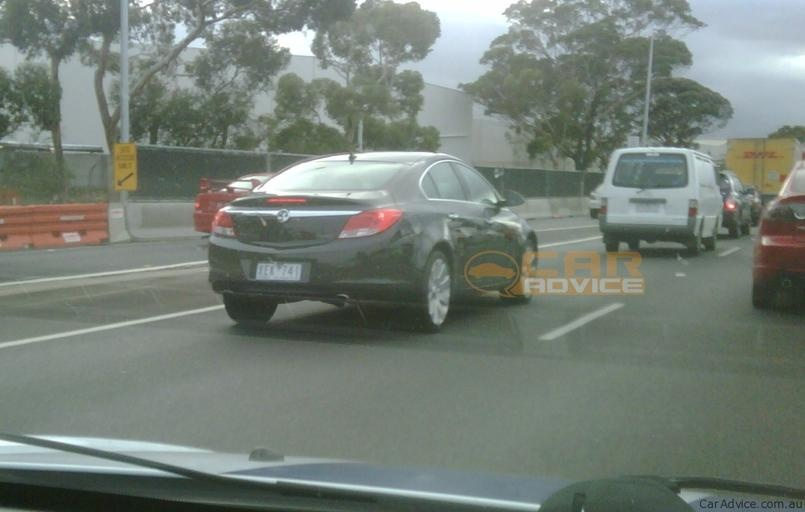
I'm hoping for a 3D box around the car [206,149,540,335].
[{"bbox_3d":[-0.213,-0.192,9.005,3.836,2.054,1.879,-6,11,-36],"label":"car"}]

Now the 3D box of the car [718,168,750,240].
[{"bbox_3d":[10.060,-1.649,23.360,1.208,1.667,3.220,1,14,28],"label":"car"}]

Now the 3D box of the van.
[{"bbox_3d":[5.595,-1.304,16.315,1.729,1.759,3.398,1,9,22],"label":"van"}]
